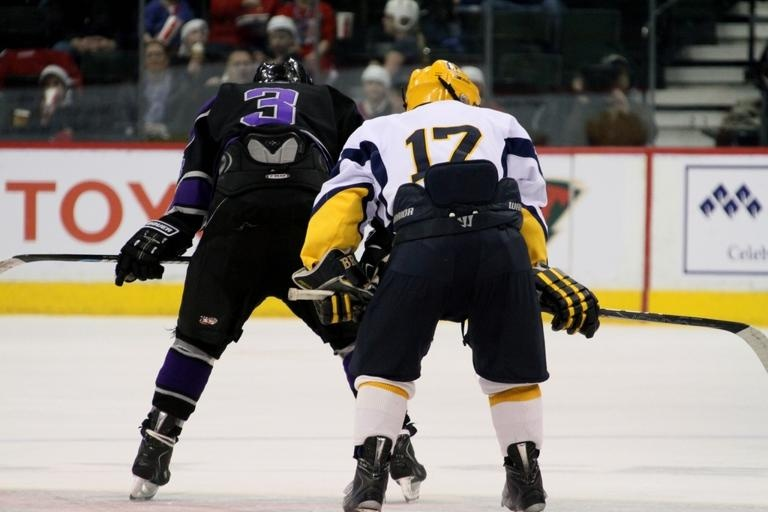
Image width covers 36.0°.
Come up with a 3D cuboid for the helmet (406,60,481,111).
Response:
[{"bbox_3d":[0.319,-0.940,6.810,0.381,0.317,0.286,-5,-8,-17],"label":"helmet"}]

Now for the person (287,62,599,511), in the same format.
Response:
[{"bbox_3d":[0.302,0.265,6.451,1.536,2.122,0.718,-1,14,-5],"label":"person"}]

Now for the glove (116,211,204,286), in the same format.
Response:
[{"bbox_3d":[-1.314,-0.038,7.081,0.332,0.541,0.171,37,-23,11],"label":"glove"}]

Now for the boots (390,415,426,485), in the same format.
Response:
[{"bbox_3d":[0.142,1.145,6.911,0.177,0.316,0.346,-8,-17,14],"label":"boots"}]

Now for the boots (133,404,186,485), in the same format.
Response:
[{"bbox_3d":[-1.282,1.085,6.803,0.182,0.487,0.218,12,2,4],"label":"boots"}]
